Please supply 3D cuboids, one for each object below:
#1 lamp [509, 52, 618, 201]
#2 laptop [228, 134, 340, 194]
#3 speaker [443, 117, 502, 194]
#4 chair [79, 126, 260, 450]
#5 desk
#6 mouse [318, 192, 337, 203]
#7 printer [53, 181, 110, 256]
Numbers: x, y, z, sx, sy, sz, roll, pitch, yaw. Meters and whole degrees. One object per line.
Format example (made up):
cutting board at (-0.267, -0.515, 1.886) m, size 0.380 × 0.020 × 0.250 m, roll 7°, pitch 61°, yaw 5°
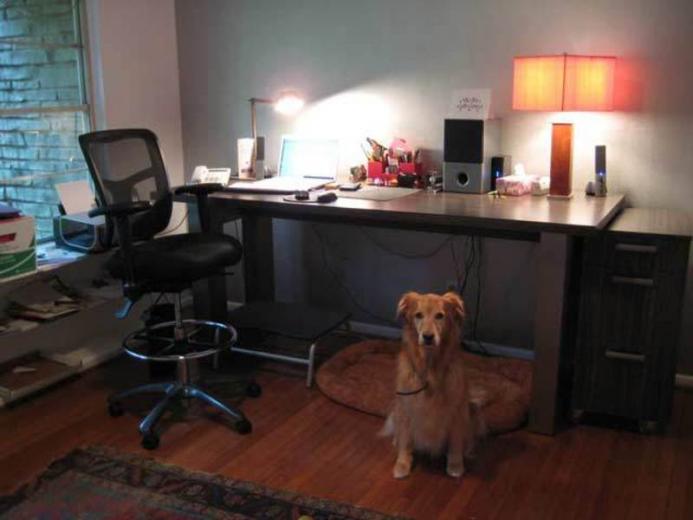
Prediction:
lamp at (1.108, -0.684, 2.770) m, size 0.507 × 0.680 × 0.508 m, roll 2°, pitch 11°, yaw 11°
laptop at (-0.349, -0.564, 3.112) m, size 0.561 × 0.295 × 0.558 m, roll -11°, pitch 18°, yaw -36°
speaker at (0.698, -0.592, 2.962) m, size 0.230 × 0.412 × 0.306 m, roll 8°, pitch 23°, yaw 32°
chair at (-0.812, 0.085, 2.533) m, size 0.797 × 1.399 × 0.750 m, roll 5°, pitch 13°, yaw 23°
desk at (0.423, 0.190, 2.981) m, size 1.867 × 0.863 × 0.775 m, roll 6°, pitch 4°, yaw 33°
mouse at (-0.095, -0.309, 2.680) m, size 0.073 × 0.032 × 0.053 m, roll -5°, pitch 13°, yaw 38°
printer at (-1.546, -0.257, 3.177) m, size 0.366 × 0.394 × 0.260 m, roll 9°, pitch 8°, yaw 13°
